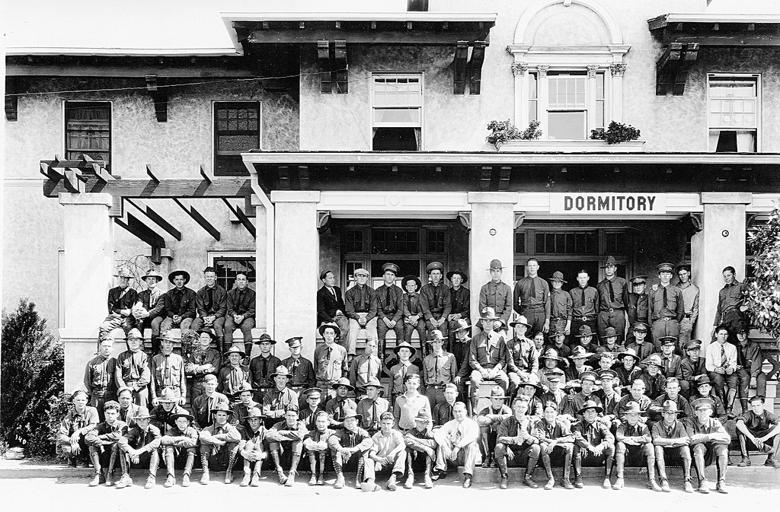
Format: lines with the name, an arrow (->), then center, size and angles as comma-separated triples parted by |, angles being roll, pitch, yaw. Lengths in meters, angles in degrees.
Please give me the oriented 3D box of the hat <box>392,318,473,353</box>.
hat -> 1.034, 1.986, 44.854 | 0.842, 0.389, 0.329 | -20, -26, -9
